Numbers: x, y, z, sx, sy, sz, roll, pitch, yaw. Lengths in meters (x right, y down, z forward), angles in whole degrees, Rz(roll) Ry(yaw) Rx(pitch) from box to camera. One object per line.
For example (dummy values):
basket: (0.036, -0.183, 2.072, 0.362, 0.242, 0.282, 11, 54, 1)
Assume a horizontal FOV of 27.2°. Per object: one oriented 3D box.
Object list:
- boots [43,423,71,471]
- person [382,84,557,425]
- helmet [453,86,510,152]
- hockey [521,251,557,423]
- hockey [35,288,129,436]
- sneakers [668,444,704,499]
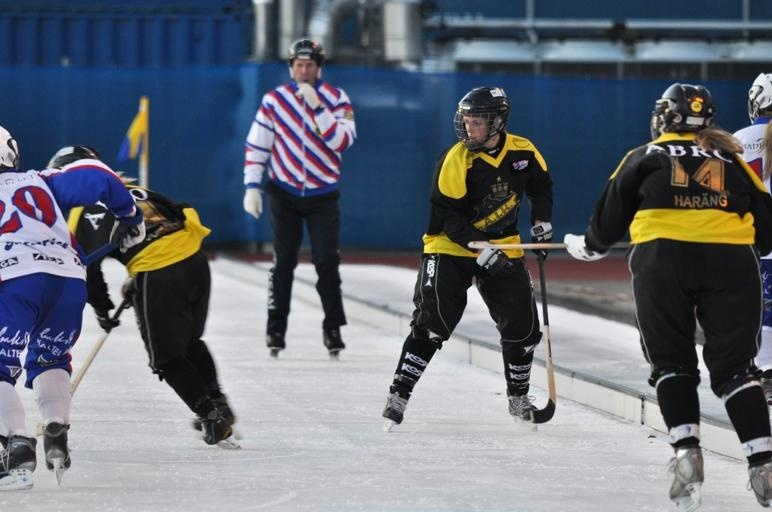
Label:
boots: (-2.179, 1.245, 10.490, 0.175, 0.316, 0.224, -1, 15, -12)
person: (0.644, -0.061, 11.974, 1.383, 2.252, 1.239, -1, 3, -12)
helmet: (0.686, -0.976, 11.521, 0.380, 0.442, 0.300, 1, 14, -2)
hockey: (1.127, 0.591, 11.630, 0.280, 1.136, 0.248, 2, 0, 2)
hockey: (-2.165, 0.785, 11.682, 0.191, 0.186, 1.247, 24, -37, -15)
sneakers: (1.938, 1.400, 10.242, 0.197, 0.341, 0.186, 4, 15, 9)
